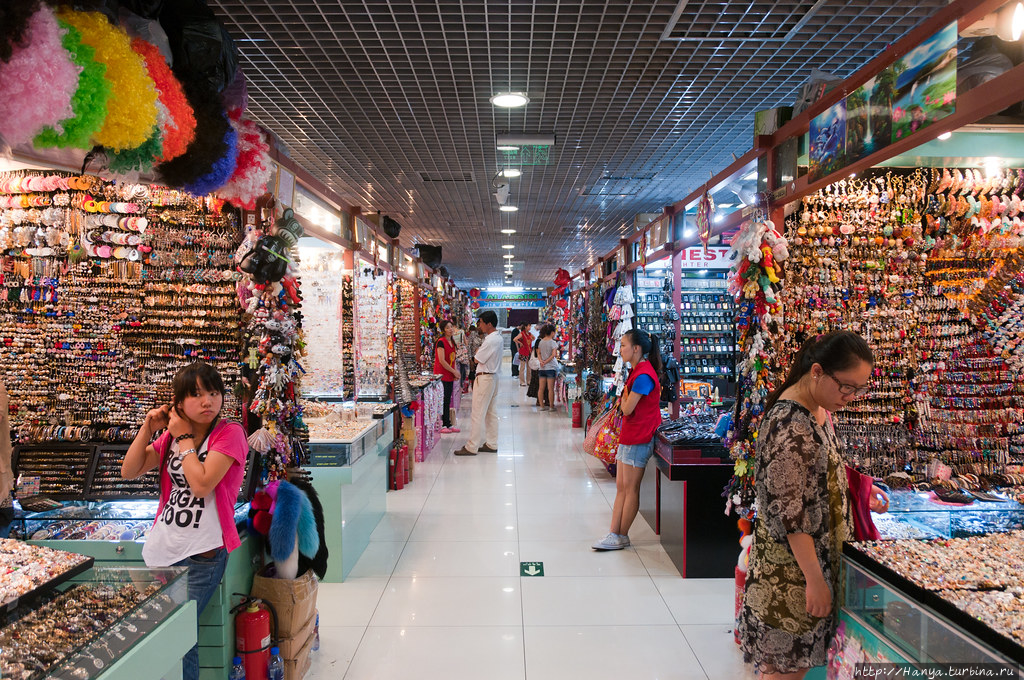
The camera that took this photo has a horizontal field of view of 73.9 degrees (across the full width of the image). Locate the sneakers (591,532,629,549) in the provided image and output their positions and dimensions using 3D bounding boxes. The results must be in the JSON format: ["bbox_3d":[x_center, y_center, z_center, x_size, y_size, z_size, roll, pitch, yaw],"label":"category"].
[{"bbox_3d":[0.841,1.717,5.824,0.237,0.094,0.151,1,-6,-9],"label":"sneakers"}]

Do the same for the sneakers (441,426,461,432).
[{"bbox_3d":[-1.012,1.473,11.221,0.303,0.127,0.101,-1,-1,7],"label":"sneakers"}]

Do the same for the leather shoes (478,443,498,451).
[{"bbox_3d":[-0.333,1.485,9.425,0.275,0.111,0.093,3,0,14],"label":"leather shoes"}]

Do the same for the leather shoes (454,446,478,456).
[{"bbox_3d":[-0.644,1.497,9.254,0.332,0.133,0.122,3,-3,3],"label":"leather shoes"}]

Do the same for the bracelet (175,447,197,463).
[{"bbox_3d":[-1.734,0.603,3.630,0.088,0.061,0.094,-16,-13,18],"label":"bracelet"}]

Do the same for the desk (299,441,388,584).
[{"bbox_3d":[-1.280,1.301,5.090,0.350,0.423,1.182,-2,-1,-5],"label":"desk"}]

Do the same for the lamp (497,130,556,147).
[{"bbox_3d":[0.138,-2.013,6.883,0.589,0.092,0.379,1,7,3],"label":"lamp"}]

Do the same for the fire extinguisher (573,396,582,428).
[{"bbox_3d":[1.062,1.156,10.952,0.131,0.484,0.316,1,6,4],"label":"fire extinguisher"}]

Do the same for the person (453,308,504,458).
[{"bbox_3d":[-0.436,0.575,9.590,0.557,1.984,1.304,0,6,-1],"label":"person"}]
